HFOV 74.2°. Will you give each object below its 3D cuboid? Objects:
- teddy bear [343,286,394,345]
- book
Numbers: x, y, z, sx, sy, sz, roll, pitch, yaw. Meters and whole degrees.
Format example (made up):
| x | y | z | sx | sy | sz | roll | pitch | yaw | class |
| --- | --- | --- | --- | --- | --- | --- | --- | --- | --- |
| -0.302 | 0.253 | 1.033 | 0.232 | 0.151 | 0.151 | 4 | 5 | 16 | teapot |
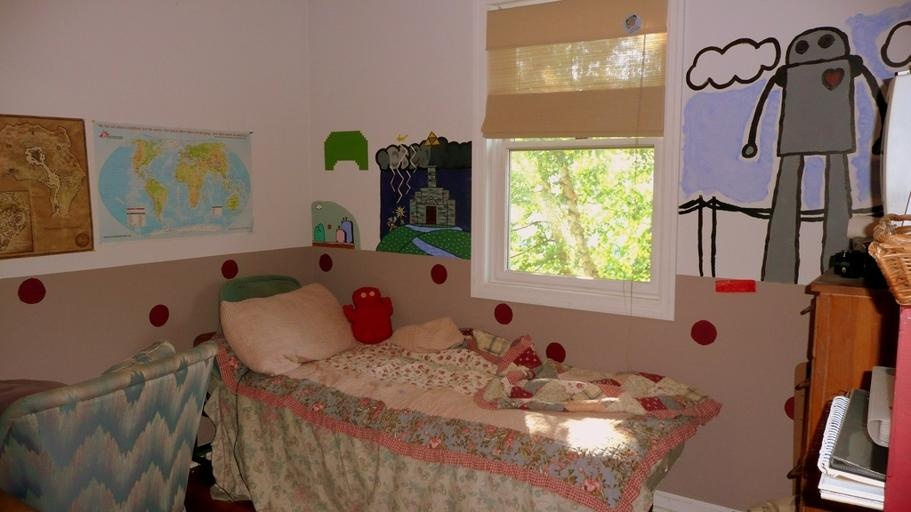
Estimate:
| x | y | z | sx | sy | sz | roll | pitch | yaw | class |
| --- | --- | --- | --- | --- | --- | --- | --- | --- | --- |
| -0.627 | 0.431 | 4.428 | 0.351 | 0.407 | 0.230 | -7 | -5 | -27 | teddy bear |
| 1.481 | 0.697 | 2.267 | 0.326 | 0.130 | 0.430 | 5 | 46 | 23 | book |
